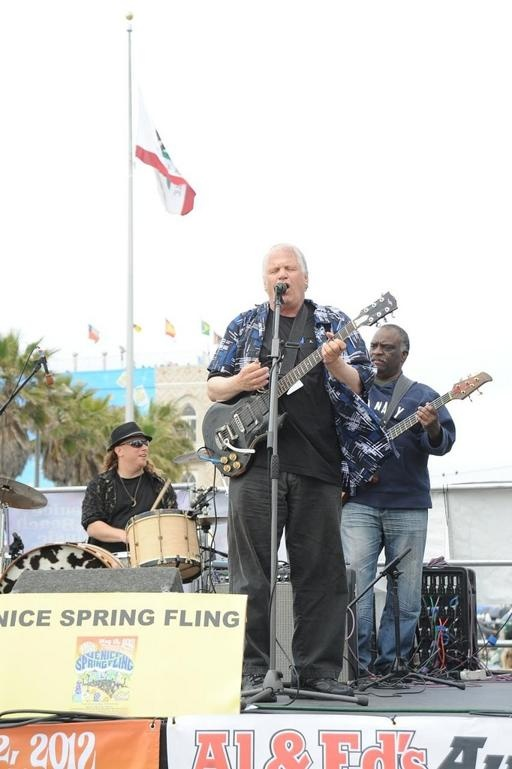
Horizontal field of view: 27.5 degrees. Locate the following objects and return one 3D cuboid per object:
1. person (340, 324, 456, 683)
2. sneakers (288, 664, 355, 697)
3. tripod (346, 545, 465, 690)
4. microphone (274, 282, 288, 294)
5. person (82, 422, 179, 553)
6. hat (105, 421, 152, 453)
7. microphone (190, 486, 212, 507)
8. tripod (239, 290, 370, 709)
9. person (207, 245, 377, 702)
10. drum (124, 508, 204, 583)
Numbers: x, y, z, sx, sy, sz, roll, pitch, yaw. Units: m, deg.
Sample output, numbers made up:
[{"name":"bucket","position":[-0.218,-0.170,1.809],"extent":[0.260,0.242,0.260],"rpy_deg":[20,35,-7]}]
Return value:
[{"name":"person","position":[0.687,0.634,5.500],"extent":[0.632,1.946,0.667],"rpy_deg":[4,1,36]},{"name":"sneakers","position":[0.244,1.097,3.840],"extent":[0.272,0.097,0.089],"rpy_deg":[4,-21,4]},{"name":"tripod","position":[0.701,1.125,4.955],"extent":[0.571,0.592,0.501],"rpy_deg":[-5,-6,19]},{"name":"microphone","position":[0.095,-0.381,4.127],"extent":[0.043,0.043,0.044],"rpy_deg":[-2,4,5]},{"name":"person","position":[-0.762,0.607,6.194],"extent":[0.524,0.759,0.490],"rpy_deg":[2,0,2]},{"name":"hat","position":[-0.805,0.316,6.390],"extent":[0.196,0.079,0.221],"rpy_deg":[-5,-21,-45]},{"name":"microphone","position":[-0.363,0.720,6.454],"extent":[0.063,0.077,0.182],"rpy_deg":[7,-35,-38]},{"name":"tripod","position":[0.165,0.364,3.810],"extent":[0.417,1.577,0.856],"rpy_deg":[0,-6,1]},{"name":"person","position":[0.101,0.312,4.148],"extent":[0.803,1.797,0.636],"rpy_deg":[-3,-9,27]},{"name":"drum","position":[-0.457,0.799,5.311],"extent":[0.377,0.307,0.305],"rpy_deg":[2,-6,-15]}]
